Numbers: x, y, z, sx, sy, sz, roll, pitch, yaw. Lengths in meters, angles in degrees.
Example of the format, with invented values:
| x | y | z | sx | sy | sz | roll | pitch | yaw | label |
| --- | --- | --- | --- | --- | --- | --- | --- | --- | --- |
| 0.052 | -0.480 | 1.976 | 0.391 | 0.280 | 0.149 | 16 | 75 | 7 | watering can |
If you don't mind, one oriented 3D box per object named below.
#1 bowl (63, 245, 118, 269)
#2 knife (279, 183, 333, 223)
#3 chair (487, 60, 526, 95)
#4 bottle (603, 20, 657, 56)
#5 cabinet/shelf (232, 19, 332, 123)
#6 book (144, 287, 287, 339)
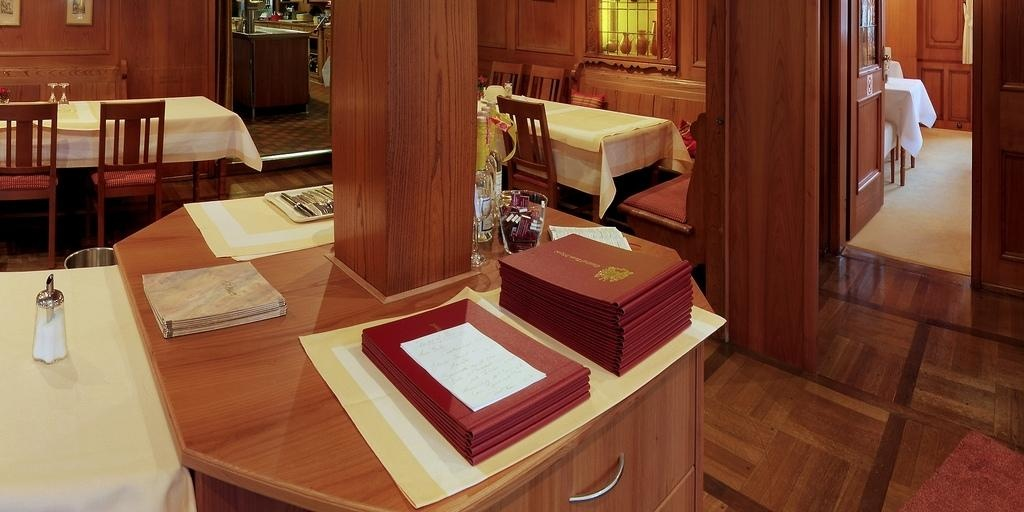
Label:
| x | y | z | sx | sy | sz | roll | pitch | yaw | label |
| --- | --- | --- | --- | --- | --- | --- | --- | --- | --- |
| -2.318 | -0.038 | 3.538 | 0.179 | 0.176 | 0.173 | 2 | 8 | 0 | bowl |
| -1.179 | -0.330 | 3.696 | 0.294 | 0.141 | 0.349 | -9 | 24 | -18 | knife |
| -0.056 | -2.449 | 8.632 | 0.273 | 0.387 | 0.588 | -20 | 29 | -39 | chair |
| 1.420 | -2.611 | 7.647 | 0.246 | 0.390 | 0.666 | -11 | 27 | -25 | bottle |
| -3.647 | -2.826 | 9.713 | 1.233 | 1.216 | 0.623 | -7 | 22 | -13 | cabinet/shelf |
| -1.424 | 0.228 | 3.031 | 0.358 | 0.087 | 0.358 | -10 | 25 | -35 | book |
